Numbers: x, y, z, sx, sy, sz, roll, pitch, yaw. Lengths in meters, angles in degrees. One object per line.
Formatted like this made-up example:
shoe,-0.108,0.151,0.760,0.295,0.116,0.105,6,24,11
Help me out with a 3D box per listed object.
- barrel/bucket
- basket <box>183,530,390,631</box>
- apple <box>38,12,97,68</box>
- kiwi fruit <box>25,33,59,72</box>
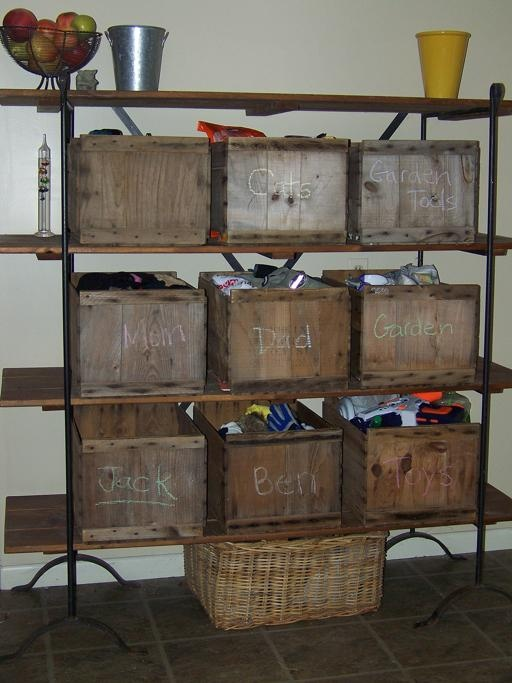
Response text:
barrel/bucket,-0.347,-0.823,2.176,0.253,0.202,0.255,1,7,0
basket,0.127,0.760,2.345,0.519,0.184,0.353,1,-2,-14
apple,-0.546,-0.859,2.033,0.169,0.103,0.165,-3,14,-14
kiwi fruit,-0.591,-0.820,2.018,0.084,0.092,0.076,0,53,-5
